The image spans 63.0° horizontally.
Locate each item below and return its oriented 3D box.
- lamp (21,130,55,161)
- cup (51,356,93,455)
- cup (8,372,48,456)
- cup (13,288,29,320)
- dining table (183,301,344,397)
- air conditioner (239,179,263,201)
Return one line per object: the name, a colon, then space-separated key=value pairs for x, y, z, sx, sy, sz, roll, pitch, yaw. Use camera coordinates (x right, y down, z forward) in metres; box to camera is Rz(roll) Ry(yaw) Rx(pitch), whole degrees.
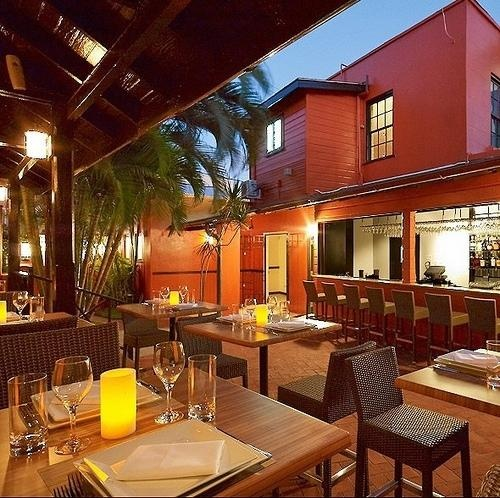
lamp: x=-1.948 y=-0.997 z=3.847 sx=0.295 sy=0.256 sz=0.170 roll=3 pitch=0 yaw=10
cup: x=-0.612 y=0.508 z=1.399 sx=0.121 sy=0.296 sz=0.304 roll=3 pitch=0 yaw=-24
cup: x=-0.712 y=0.540 z=1.313 sx=0.116 sy=0.243 sz=0.113 roll=3 pitch=0 yaw=0
cup: x=-2.091 y=0.503 z=3.717 sx=0.109 sy=0.229 sz=0.294 roll=3 pitch=0 yaw=-31
dining table: x=0.074 y=0.735 z=3.579 sx=0.891 sy=0.903 sz=0.885 roll=2 pitch=-2 yaw=-39
air conditioner: x=0.045 y=-1.841 z=12.463 sx=0.494 sy=0.658 sz=0.404 roll=3 pitch=0 yaw=-23
